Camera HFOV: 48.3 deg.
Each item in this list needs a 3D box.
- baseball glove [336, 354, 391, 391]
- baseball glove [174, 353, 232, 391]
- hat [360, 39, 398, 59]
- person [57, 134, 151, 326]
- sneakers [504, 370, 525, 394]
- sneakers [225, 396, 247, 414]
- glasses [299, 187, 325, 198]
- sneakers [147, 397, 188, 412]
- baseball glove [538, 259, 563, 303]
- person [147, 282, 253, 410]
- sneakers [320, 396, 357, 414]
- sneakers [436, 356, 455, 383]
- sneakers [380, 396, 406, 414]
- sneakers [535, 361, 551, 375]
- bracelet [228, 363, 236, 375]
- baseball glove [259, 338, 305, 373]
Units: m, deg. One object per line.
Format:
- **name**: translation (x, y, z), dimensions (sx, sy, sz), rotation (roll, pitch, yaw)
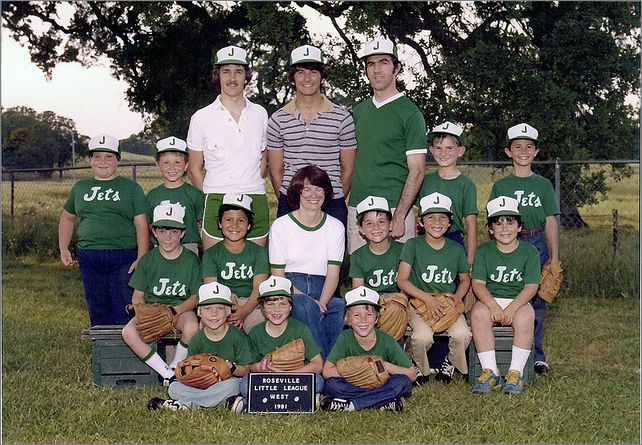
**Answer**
- **baseball glove**: translation (0.481, 1.770, 8.501), dimensions (0.479, 0.395, 0.197), rotation (2, 24, 21)
- **baseball glove**: translation (-1.448, 1.906, 8.726), dimensions (0.710, 0.285, 0.534), rotation (-8, -18, 17)
- **hat**: translation (0.757, -2.258, 9.304), dimensions (0.460, 0.271, 0.718), rotation (1, 13, 5)
- **person**: translation (-3.035, 0.358, 9.968), dimensions (1.209, 3.242, 0.873), rotation (4, 20, 3)
- **sneakers**: translation (2.403, 1.941, 8.861), dimensions (0.240, 0.247, 0.326), rotation (3, 14, 15)
- **sneakers**: translation (-1.028, 2.155, 8.504), dimensions (0.269, 0.150, 0.157), rotation (-2, 13, -9)
- **glasses**: translation (-0.114, -0.394, 8.980), dimensions (0.285, 0.138, 0.061), rotation (-1, 13, -5)
- **sneakers**: translation (-1.848, 2.143, 8.590), dimensions (0.516, 0.235, 0.182), rotation (-3, 0, 13)
- **baseball glove**: translation (3.057, 0.844, 9.508), dimensions (0.275, 0.578, 0.466), rotation (4, 14, 18)
- **person**: translation (-1.338, 1.516, 8.560), dimensions (1.113, 1.445, 1.296), rotation (-3, 0, 27)
- **sneakers**: translation (0.182, 2.171, 8.545), dimensions (0.474, 0.168, 0.186), rotation (5, 0, -27)
- **sneakers**: translation (1.612, 1.924, 9.238), dimensions (0.152, 0.135, 0.399), rotation (-37, 18, 29)
- **sneakers**: translation (0.862, 2.176, 8.532), dimensions (0.139, 0.125, 0.321), rotation (-12, -4, -38)
- **sneakers**: translation (2.940, 1.921, 9.473), dimensions (0.103, 0.108, 0.231), rotation (-3, -14, 3)
- **bracelet**: translation (-1.076, 1.757, 8.624), dimensions (0.081, 0.112, 0.094), rotation (-3, -26, 0)
- **baseball glove**: translation (-0.445, 1.594, 8.565), dimensions (0.427, 0.177, 0.321), rotation (-5, 42, 0)
